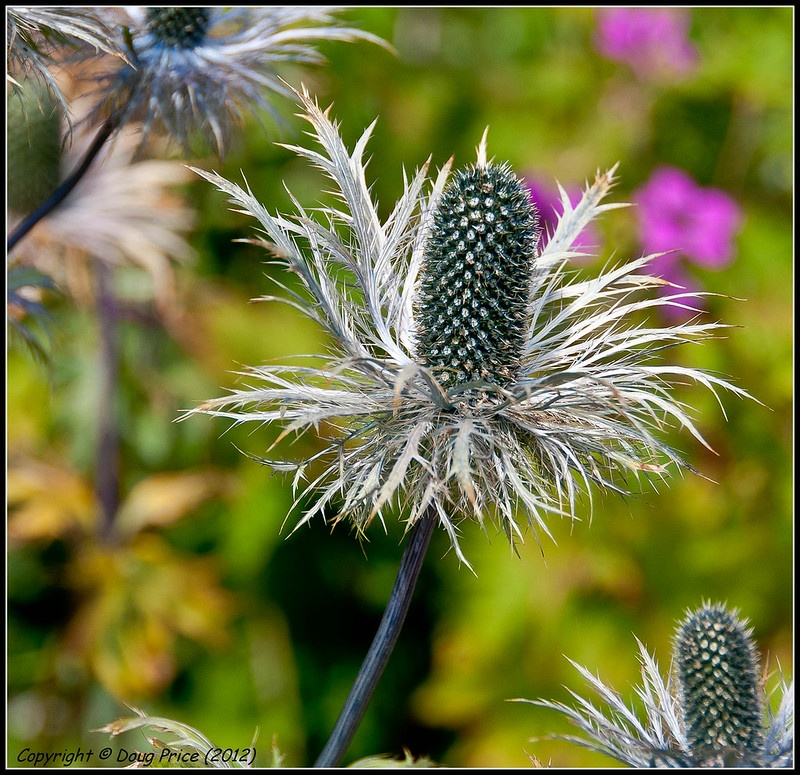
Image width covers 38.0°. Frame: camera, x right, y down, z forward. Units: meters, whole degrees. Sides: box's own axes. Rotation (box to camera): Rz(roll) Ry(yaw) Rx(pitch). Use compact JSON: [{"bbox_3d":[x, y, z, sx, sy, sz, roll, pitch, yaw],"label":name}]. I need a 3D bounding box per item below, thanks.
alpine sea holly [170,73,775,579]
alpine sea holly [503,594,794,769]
[{"bbox_3d":[0.215,-0.003,3.271,1.616,1.402,0.987,-3,-29,-14],"label":"alpine sea holly"},{"bbox_3d":[0.806,0.854,3.325,0.606,0.303,0.573,4,-9,-18],"label":"alpine sea holly"}]
